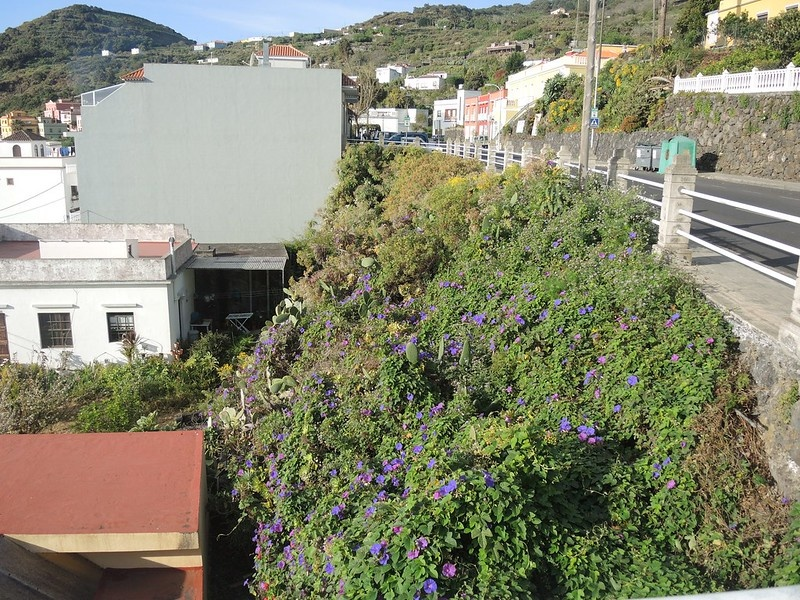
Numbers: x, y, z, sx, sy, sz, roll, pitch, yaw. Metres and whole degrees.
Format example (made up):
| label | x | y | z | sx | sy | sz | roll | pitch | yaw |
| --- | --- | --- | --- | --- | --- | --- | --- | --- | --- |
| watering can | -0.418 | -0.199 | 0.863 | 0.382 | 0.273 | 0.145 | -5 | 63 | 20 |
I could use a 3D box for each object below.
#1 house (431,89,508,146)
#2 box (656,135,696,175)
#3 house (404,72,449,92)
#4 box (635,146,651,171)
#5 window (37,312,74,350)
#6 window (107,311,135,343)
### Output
| label | x | y | z | sx | sy | sz | roll | pitch | yaw |
| --- | --- | --- | --- | --- | --- | --- | --- | --- | --- |
| house | 7.447 | -17.378 | 81.648 | 3.865 | 4.743 | 11.677 | 6 | 7 | -27 |
| box | 10.549 | -5.408 | 31.309 | 0.867 | 1.680 | 1.536 | 3 | 19 | 19 |
| house | 3.715 | -32.169 | 124.107 | 3.654 | 1.967 | 8.092 | -13 | 17 | -33 |
| box | 10.054 | -5.753 | 34.187 | 0.739 | 1.399 | 1.012 | 2 | 7 | 13 |
| window | -11.305 | 0.939 | 27.311 | 1.008 | 1.415 | 0.099 | -1 | 11 | -13 |
| window | -9.333 | 0.827 | 27.969 | 0.991 | 1.171 | 0.808 | -1 | 1 | -14 |
